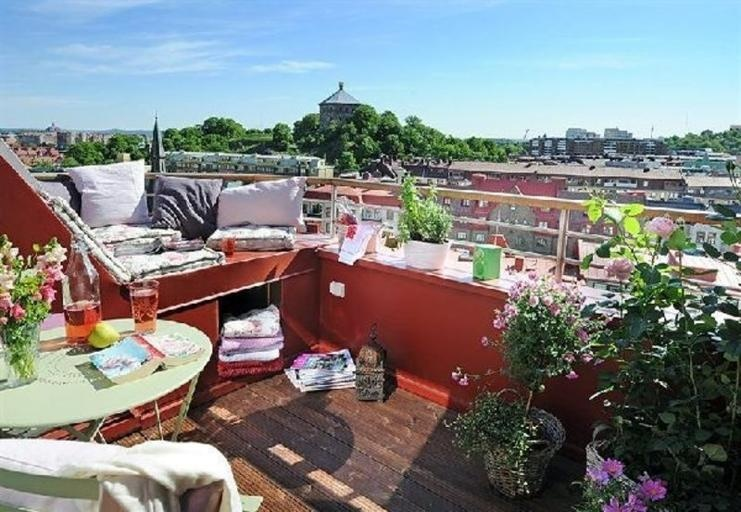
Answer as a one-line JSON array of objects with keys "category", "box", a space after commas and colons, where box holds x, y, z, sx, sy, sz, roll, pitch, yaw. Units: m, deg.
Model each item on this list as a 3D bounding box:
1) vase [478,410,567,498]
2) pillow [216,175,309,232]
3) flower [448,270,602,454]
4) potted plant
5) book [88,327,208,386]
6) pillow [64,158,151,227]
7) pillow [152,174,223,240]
[{"category": "vase", "box": [0.780, 1.050, 2.563, 0.398, 0.292, 0.388, 15, 22, 31]}, {"category": "pillow", "box": [-0.903, -0.451, 3.976, 0.726, 0.420, 0.274, -1, 11, -12]}, {"category": "flower", "box": [0.825, 0.627, 2.608, 0.690, 1.106, 0.673, 1, 11, -1]}, {"category": "potted plant", "box": [0.412, -0.170, 3.322, 0.432, 0.498, 0.338, 8, 5, 21]}, {"category": "book", "box": [-0.936, 0.392, 1.985, 0.285, 0.072, 0.206, -9, 21, -42]}, {"category": "pillow", "box": [-2.013, -0.472, 3.670, 0.642, 0.622, 0.228, -17, -4, -34]}, {"category": "pillow", "box": [-1.463, -0.405, 3.845, 0.544, 0.523, 0.159, 6, -18, -22]}]
